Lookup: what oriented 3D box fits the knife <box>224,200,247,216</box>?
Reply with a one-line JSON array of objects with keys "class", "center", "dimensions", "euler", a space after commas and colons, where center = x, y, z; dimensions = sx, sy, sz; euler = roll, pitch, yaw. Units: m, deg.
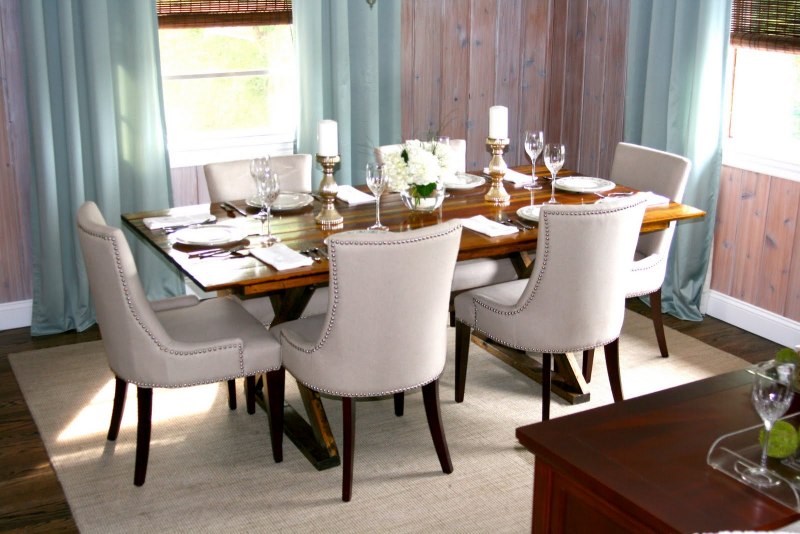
[{"class": "knife", "center": [-0.921, -0.324, 3.396], "dimensions": [0.071, 0.031, 0.267], "euler": [-8, 19, -31]}]

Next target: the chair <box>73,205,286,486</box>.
[{"class": "chair", "center": [-1.063, 0.325, 3.030], "dimensions": [0.795, 1.191, 0.901], "euler": [17, 18, 42]}]

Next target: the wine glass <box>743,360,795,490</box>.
[{"class": "wine glass", "center": [0.995, 0.415, 1.638], "dimensions": [0.090, 0.284, 0.190], "euler": [9, 22, 33]}]

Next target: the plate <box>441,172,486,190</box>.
[{"class": "plate", "center": [0.407, -0.530, 3.805], "dimensions": [0.196, 0.041, 0.198], "euler": [-4, 26, -4]}]

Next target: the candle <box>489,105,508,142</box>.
[{"class": "candle", "center": [0.565, -0.814, 3.478], "dimensions": [0.091, 0.184, 0.075], "euler": [1, 19, 15]}]

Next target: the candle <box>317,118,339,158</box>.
[{"class": "candle", "center": [-0.352, -0.633, 3.022], "dimensions": [0.123, 0.171, 0.106], "euler": [-15, 22, -30]}]

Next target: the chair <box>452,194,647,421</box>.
[{"class": "chair", "center": [0.756, 0.204, 3.134], "dimensions": [0.867, 1.317, 0.898], "euler": [-11, 19, -37]}]

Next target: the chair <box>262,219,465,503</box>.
[{"class": "chair", "center": [-0.148, 0.385, 2.919], "dimensions": [0.736, 1.274, 0.782], "euler": [-11, 18, -36]}]

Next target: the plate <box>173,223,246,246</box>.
[{"class": "plate", "center": [-0.927, -0.150, 2.963], "dimensions": [0.181, 0.020, 0.182], "euler": [-10, 24, -33]}]
